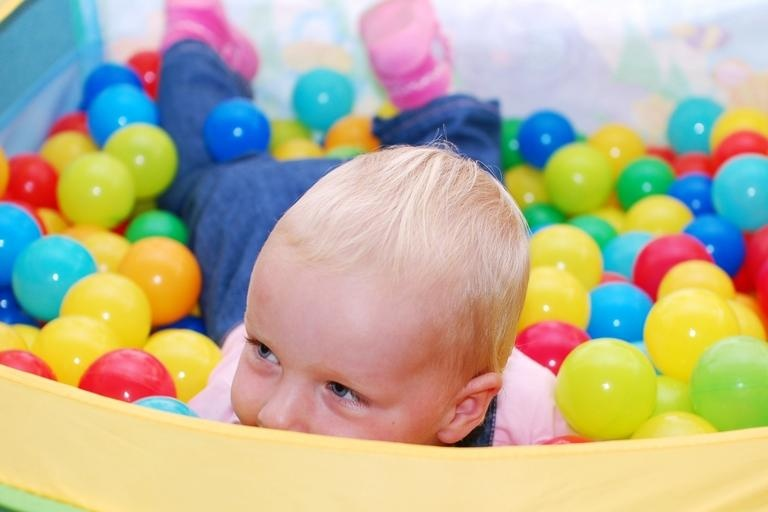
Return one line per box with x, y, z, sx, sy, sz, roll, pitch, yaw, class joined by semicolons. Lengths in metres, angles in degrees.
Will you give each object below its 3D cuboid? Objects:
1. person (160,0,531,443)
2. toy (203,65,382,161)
-0.106;-0.097;1.715;0.765;0.506;1.236;-4;42;-5;person
-0.330;-0.452;2.445;0.438;0.173;0.417;-7;13;-5;toy
